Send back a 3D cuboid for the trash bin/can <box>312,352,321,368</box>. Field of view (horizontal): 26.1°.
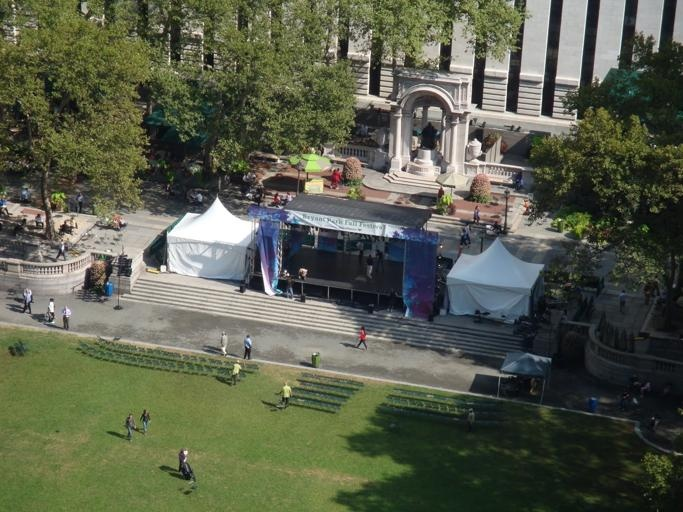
[{"bbox_3d":[-1.925,8.273,118.357,0.775,1.180,1.803,4,8,-1],"label":"trash bin/can"}]

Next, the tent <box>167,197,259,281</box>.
[{"bbox_3d":[-10.797,-0.611,130.738,6.816,4.943,6.633,8,35,8],"label":"tent"}]

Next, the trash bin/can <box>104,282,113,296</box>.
[{"bbox_3d":[-19.678,2.750,125.726,0.746,1.266,0.688,3,9,-4],"label":"trash bin/can"}]

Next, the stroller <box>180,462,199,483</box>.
[{"bbox_3d":[-10.678,15.388,104.799,1.478,0.664,1.039,22,17,21],"label":"stroller"}]
